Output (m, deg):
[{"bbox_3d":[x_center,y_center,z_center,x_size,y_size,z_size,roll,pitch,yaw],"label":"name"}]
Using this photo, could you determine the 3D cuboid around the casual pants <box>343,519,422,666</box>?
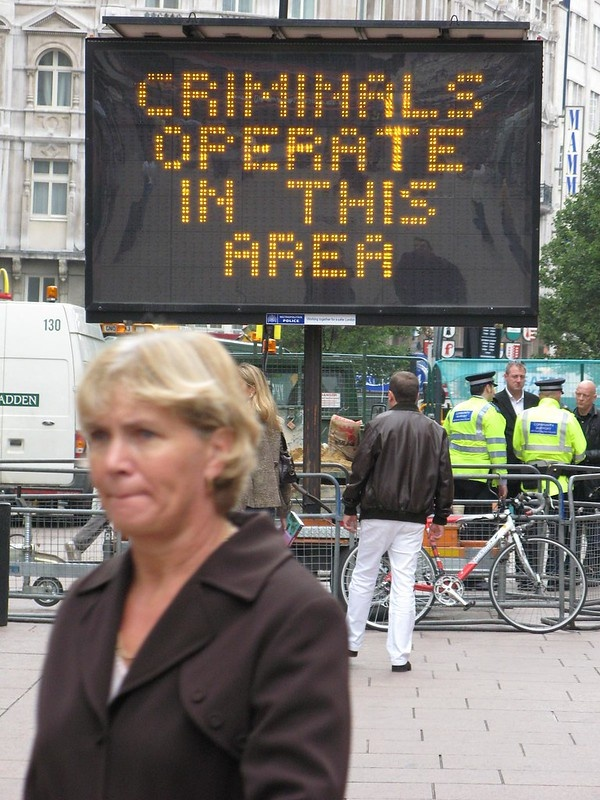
[{"bbox_3d":[0.487,1.068,7.615,0.413,0.780,0.591,2,0,2],"label":"casual pants"}]

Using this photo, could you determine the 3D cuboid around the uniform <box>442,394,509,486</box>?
[{"bbox_3d":[1.352,0.333,10.293,0.309,0.612,0.716,-9,11,-38],"label":"uniform"}]
